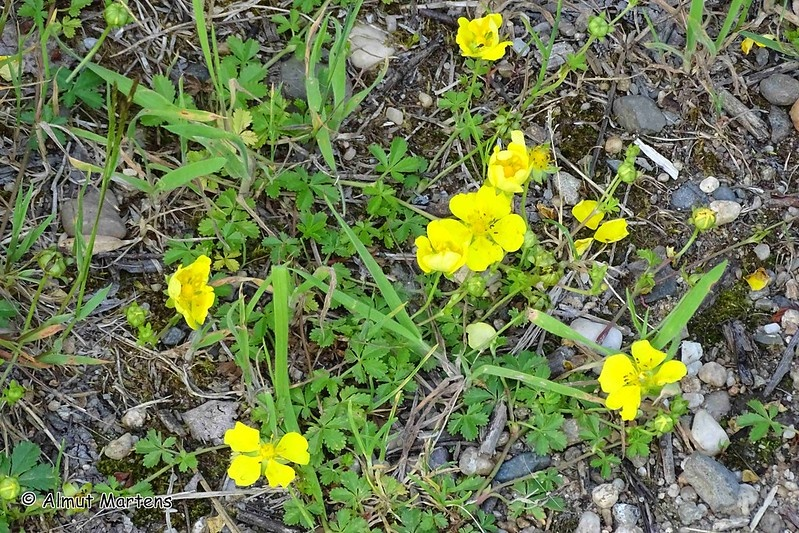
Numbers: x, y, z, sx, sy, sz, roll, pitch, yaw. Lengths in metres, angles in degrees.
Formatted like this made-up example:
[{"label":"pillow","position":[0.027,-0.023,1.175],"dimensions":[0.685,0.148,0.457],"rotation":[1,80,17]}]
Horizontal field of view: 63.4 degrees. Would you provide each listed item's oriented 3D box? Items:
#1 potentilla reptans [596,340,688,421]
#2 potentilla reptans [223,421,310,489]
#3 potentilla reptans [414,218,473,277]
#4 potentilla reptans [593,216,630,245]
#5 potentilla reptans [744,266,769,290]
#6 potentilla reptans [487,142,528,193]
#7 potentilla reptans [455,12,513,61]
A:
[{"label":"potentilla reptans","position":[1.118,0.506,2.969],"dimensions":[0.422,0.181,0.322],"rotation":[-34,43,-27]},{"label":"potentilla reptans","position":[-0.623,0.832,2.919],"dimensions":[0.408,0.369,0.100],"rotation":[12,86,39]},{"label":"potentilla reptans","position":[0.203,-0.104,2.954],"dimensions":[0.253,0.249,0.277],"rotation":[17,79,1]},{"label":"potentilla reptans","position":[1.088,-0.188,3.329],"dimensions":[0.145,0.131,0.095],"rotation":[-6,79,-3]},{"label":"potentilla reptans","position":[1.925,0.074,3.469],"dimensions":[0.123,0.038,0.104],"rotation":[-33,83,-8]},{"label":"potentilla reptans","position":[0.501,-0.452,3.061],"dimensions":[0.214,0.146,0.208],"rotation":[-42,91,7]},{"label":"potentilla reptans","position":[0.409,-1.163,3.244],"dimensions":[0.252,0.215,0.242],"rotation":[18,79,1]}]
